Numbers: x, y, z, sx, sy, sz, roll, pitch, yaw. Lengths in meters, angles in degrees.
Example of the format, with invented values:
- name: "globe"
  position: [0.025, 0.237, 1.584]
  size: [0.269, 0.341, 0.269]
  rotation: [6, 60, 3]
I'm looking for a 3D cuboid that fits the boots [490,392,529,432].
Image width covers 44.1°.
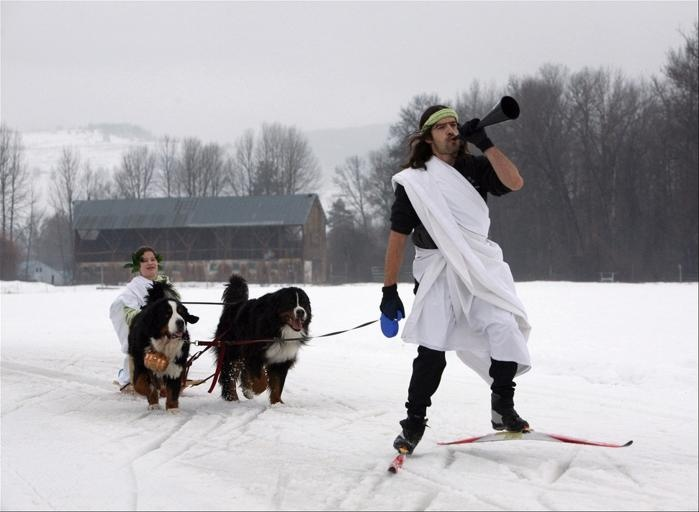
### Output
- name: "boots"
  position: [2.778, 2.673, 14.879]
  size: [0.298, 0.661, 0.870]
  rotation: [-2, -1, -42]

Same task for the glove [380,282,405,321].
- name: "glove"
  position: [0.662, 0.724, 15.025]
  size: [0.331, 0.665, 0.799]
  rotation: [-9, -16, -1]

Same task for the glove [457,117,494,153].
- name: "glove"
  position: [2.259, -2.122, 14.807]
  size: [0.669, 0.260, 0.288]
  rotation: [27, 12, 17]

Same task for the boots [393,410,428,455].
- name: "boots"
  position: [1.125, 3.059, 15.144]
  size: [0.461, 0.788, 0.283]
  rotation: [28, -6, 28]

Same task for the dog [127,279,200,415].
- name: "dog"
  position: [-3.718, 1.752, 17.107]
  size: [1.323, 2.476, 0.816]
  rotation: [1, 3, 25]
